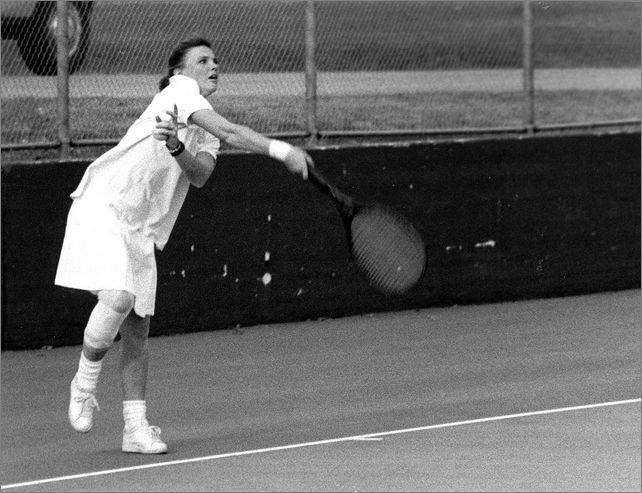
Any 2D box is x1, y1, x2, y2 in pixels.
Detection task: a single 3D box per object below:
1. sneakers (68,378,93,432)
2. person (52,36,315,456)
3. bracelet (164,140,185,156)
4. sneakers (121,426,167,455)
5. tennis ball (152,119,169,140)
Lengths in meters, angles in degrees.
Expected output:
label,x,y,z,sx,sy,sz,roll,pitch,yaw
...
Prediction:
label,x,y,z,sx,sy,sz,roll,pitch,yaw
sneakers,-1.284,0.884,7.141,0.108,0.321,0.123,0,3,-35
person,-0.884,0.009,7.078,1.061,2.264,0.704,-2,5,-12
bracelet,-0.758,-0.511,6.908,0.096,0.083,0.149,-1,5,1
sneakers,-0.959,1.072,7.186,0.264,0.128,0.124,-2,-3,27
tennis ball,-0.818,-0.599,6.792,0.082,0.098,0.058,-3,5,-19
